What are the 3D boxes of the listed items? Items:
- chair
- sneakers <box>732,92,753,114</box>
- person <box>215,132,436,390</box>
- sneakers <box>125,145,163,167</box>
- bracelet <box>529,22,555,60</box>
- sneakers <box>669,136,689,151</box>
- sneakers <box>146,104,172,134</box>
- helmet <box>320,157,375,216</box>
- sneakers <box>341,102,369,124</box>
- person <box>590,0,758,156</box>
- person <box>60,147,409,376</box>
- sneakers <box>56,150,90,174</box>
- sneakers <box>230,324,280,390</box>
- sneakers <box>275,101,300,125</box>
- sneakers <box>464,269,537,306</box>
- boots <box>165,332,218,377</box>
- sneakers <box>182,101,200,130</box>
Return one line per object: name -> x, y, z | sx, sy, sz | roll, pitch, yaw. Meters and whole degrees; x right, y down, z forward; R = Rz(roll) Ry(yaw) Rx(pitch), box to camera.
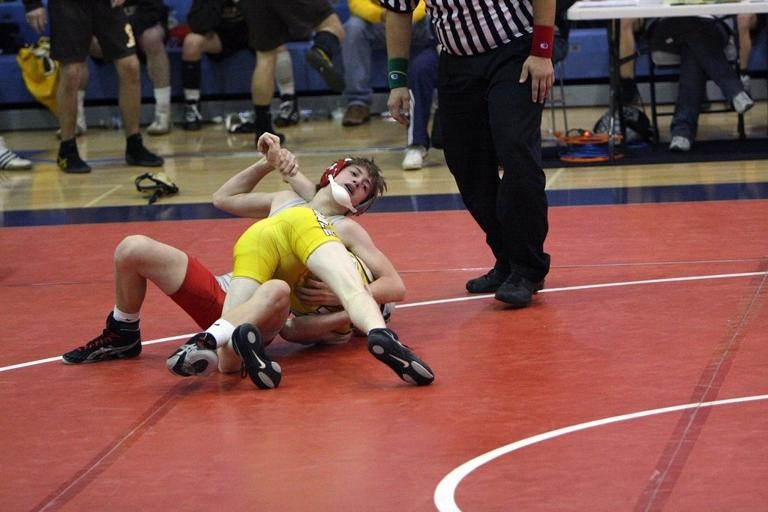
chair -> 2.546, -1.285, 6.035 | 0.913, 0.827, 0.684 | 1, 32, 12
sneakers -> 2.675, -1.166, 5.690 | 0.096, 0.100, 0.229 | -38, 7, 7
person -> -0.206, 0.039, 2.821 | 0.957, 0.694, 1.326 | 0, 23, 3
sneakers -> -1.889, -0.774, 5.940 | 0.310, 0.120, 0.143 | 1, 10, 9
bracelet -> 0.643, -0.877, 3.052 | 0.109, 0.139, 0.094 | 21, 21, 37
sneakers -> 2.196, -0.831, 5.592 | 0.080, 0.069, 0.181 | -1, 2, 9
sneakers -> -2.226, -1.341, 7.461 | 0.245, 0.270, 0.199 | -6, 12, -16
helmet -> -0.148, -0.280, 3.010 | 0.189, 0.150, 0.241 | 16, 9, -8
sneakers -> -0.286, -1.432, 7.670 | 0.243, 0.220, 0.459 | -1, 11, 8
person -> 2.194, -1.344, 6.168 | 1.060, 1.271, 1.269 | -2, 9, -4
person -> -0.511, 0.021, 2.786 | 1.143, 0.744, 0.980 | -12, 22, -44
sneakers -> -2.414, -0.712, 5.846 | 0.316, 0.142, 0.115 | 1, 7, 35
sneakers -> -0.434, 0.347, 2.573 | 0.154, 0.270, 0.129 | -5, 12, -13
sneakers -> -0.965, -1.437, 7.737 | 0.133, 0.243, 0.374 | -3, 3, 9
sneakers -> 0.500, 0.151, 3.227 | 0.251, 0.101, 0.148 | 18, 18, -14
boots -> -0.646, 0.323, 2.617 | 0.159, 0.113, 0.289 | 1, -8, -2
sneakers -> -1.942, -1.414, 7.618 | 0.176, 0.278, 0.141 | -6, 12, -17
